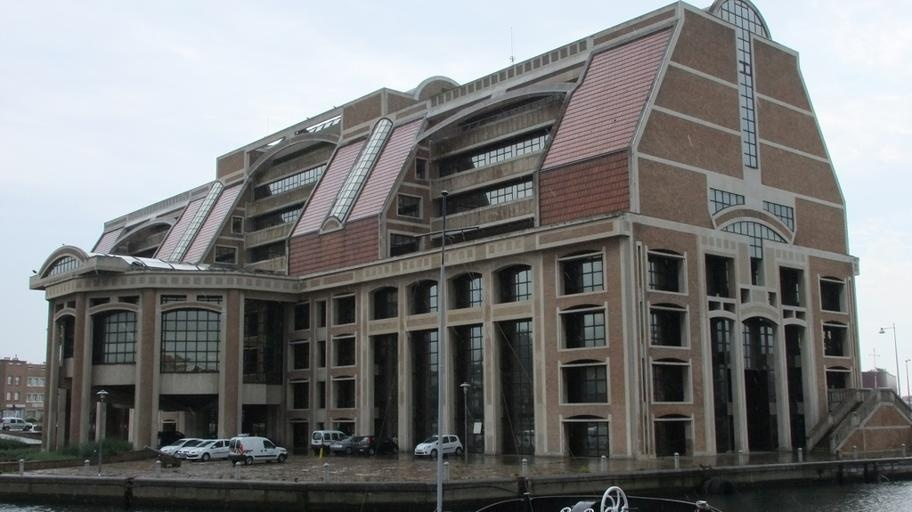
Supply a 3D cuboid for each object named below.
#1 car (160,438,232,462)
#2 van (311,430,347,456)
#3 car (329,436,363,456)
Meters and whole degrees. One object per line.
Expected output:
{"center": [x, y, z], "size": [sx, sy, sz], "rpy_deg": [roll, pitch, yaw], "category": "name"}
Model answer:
{"center": [-29.281, 22.082, 134.015], "size": [3.730, 1.707, 6.216], "rpy_deg": [-12, -17, 43], "category": "car"}
{"center": [-15.160, 22.469, 139.741], "size": [2.612, 1.931, 4.220], "rpy_deg": [-4, -2, 43], "category": "van"}
{"center": [-13.128, 22.802, 138.388], "size": [3.403, 2.203, 1.896], "rpy_deg": [3, -1, -7], "category": "car"}
